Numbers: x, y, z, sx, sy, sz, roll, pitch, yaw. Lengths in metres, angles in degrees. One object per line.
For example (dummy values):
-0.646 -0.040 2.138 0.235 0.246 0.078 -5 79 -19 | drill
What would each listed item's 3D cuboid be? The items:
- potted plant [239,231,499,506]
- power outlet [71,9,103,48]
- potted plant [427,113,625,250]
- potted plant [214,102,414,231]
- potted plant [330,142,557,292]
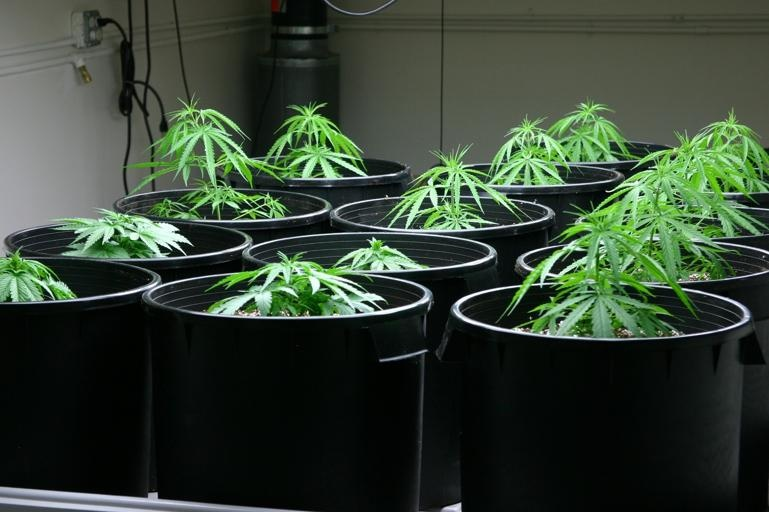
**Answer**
-0.036 0.189 1.506 0.656 0.494 0.575 0 7 -1 | potted plant
-1.285 -0.960 2.731 0.050 0.146 0.167 5 8 36 | power outlet
0.508 -0.262 2.117 0.530 0.451 0.460 -7 12 -25 | potted plant
-0.210 -0.285 2.043 0.608 0.339 0.572 -3 10 -17 | potted plant
0.152 -0.099 1.659 0.495 0.307 0.423 -1 9 -3 | potted plant
